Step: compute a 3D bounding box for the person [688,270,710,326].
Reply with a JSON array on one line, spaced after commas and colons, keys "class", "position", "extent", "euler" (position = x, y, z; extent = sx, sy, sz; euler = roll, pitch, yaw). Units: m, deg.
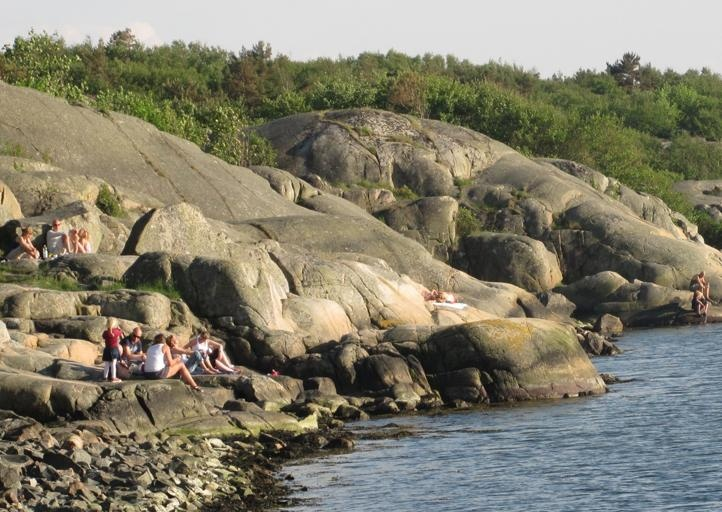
[{"class": "person", "position": [16.081, 2.023, 97.009], "extent": [0.921, 1.935, 0.640], "euler": [-10, -5, -4]}]

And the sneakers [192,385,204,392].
[{"class": "sneakers", "position": [-6.478, 5.281, 80.455], "extent": [0.277, 0.106, 0.228], "euler": [14, -2, 42]}]
